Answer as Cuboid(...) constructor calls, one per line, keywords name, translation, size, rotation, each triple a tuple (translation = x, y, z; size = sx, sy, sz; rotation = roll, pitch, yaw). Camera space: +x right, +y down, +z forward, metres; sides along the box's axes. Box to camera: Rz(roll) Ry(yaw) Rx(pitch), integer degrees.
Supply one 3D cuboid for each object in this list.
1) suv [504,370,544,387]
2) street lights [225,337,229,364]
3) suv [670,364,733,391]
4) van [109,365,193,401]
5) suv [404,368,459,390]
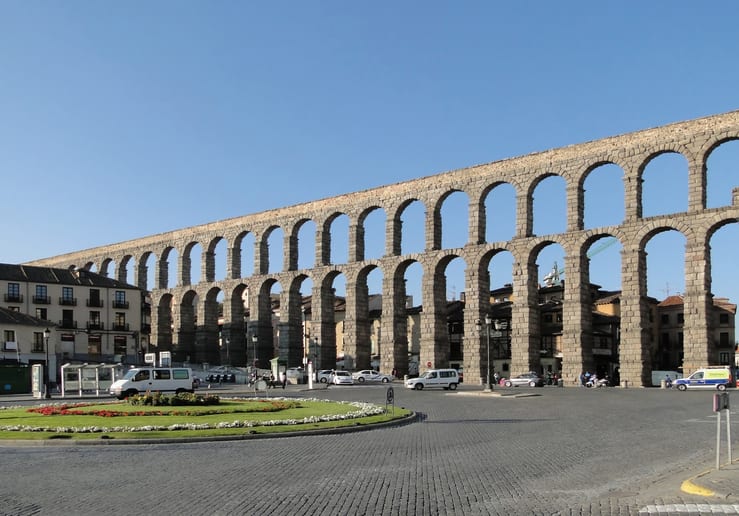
Cuboid(name="suv", translation=(13.136, 10.320, 71.128), size=(2.621, 0.969, 1.415), rotation=(0, -4, 28))
Cuboid(name="street lights", translation=(-16.286, 10.620, 96.148), size=(0.438, 2.727, 0.788), rotation=(-1, -13, -9))
Cuboid(name="suv", translation=(24.313, 8.560, 60.499), size=(3.510, 1.602, 2.027), rotation=(-2, -8, 25))
Cuboid(name="van", translation=(-12.958, 7.424, 49.666), size=(4.380, 1.610, 2.085), rotation=(6, -10, -31))
Cuboid(name="suv", translation=(5.060, 9.364, 64.652), size=(2.895, 1.114, 1.834), rotation=(3, -9, -11))
